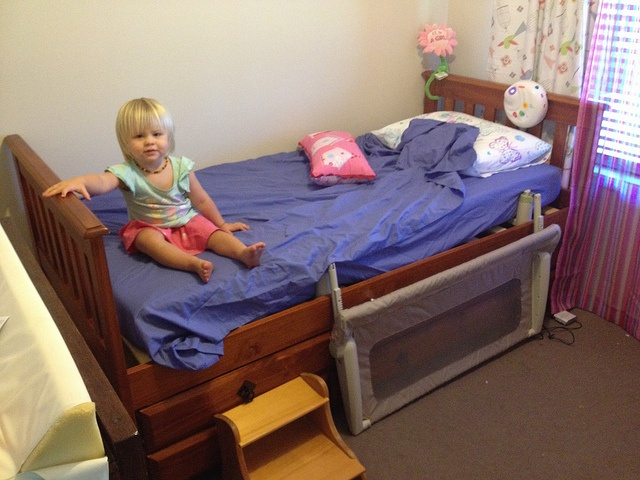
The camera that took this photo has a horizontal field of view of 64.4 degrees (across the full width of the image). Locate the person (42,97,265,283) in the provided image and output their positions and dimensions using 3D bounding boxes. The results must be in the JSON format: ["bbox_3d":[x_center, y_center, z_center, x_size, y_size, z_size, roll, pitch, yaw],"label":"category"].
[{"bbox_3d":[-0.609,-0.177,1.920,0.757,0.624,0.700,-12,29,-30],"label":"person"}]
